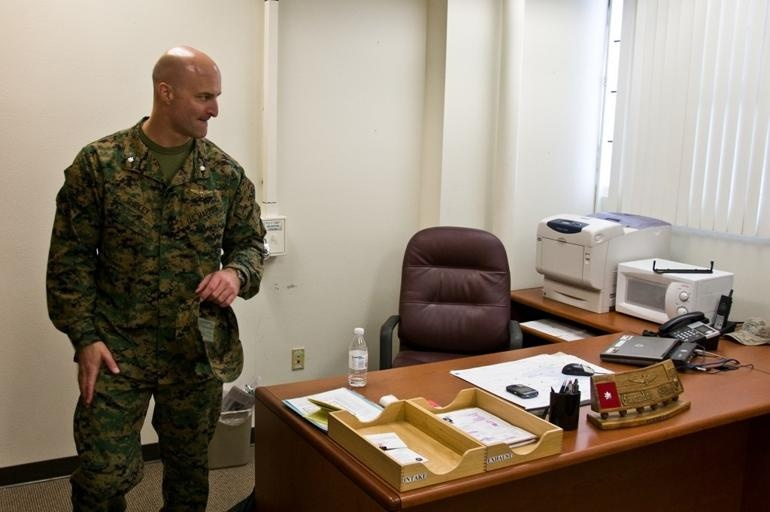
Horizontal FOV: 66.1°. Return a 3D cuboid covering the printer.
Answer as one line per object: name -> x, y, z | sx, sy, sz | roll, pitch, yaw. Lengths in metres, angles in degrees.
printer -> 1.455, -0.004, 3.918 | 0.771, 0.549, 0.522 | -9, 14, -27

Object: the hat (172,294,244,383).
hat -> -0.717, 0.325, 2.444 | 0.262, 0.333, 0.098 | -16, 11, -38

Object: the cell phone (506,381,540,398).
cell phone -> 0.578, 0.571, 2.513 | 0.061, 0.020, 0.075 | -4, 9, -26

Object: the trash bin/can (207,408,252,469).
trash bin/can -> -0.991, 1.108, 3.575 | 0.344, 0.309, 0.263 | 7, -10, -38

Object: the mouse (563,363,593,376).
mouse -> 0.869, 0.507, 2.679 | 0.088, 0.031, 0.059 | -3, 11, -9

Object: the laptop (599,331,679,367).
laptop -> 1.211, 0.448, 2.803 | 0.183, 0.046, 0.206 | 3, 18, 33

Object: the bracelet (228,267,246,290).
bracelet -> -0.605, 0.093, 2.389 | 0.072, 0.079, 0.088 | 0, 6, -24

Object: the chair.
chair -> 0.420, 0.229, 3.861 | 0.795, 1.119, 0.862 | 0, 8, 4

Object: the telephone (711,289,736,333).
telephone -> 1.882, 0.294, 3.294 | 0.057, 0.263, 0.059 | -17, 29, -32

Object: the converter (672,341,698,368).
converter -> 1.395, 0.460, 2.764 | 0.112, 0.042, 0.161 | 5, 27, 32

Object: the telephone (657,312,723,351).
telephone -> 1.563, 0.388, 3.029 | 0.316, 0.103, 0.243 | -16, 25, -35
